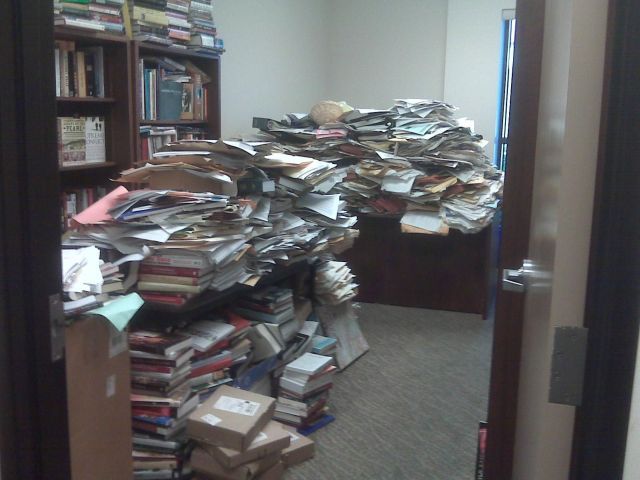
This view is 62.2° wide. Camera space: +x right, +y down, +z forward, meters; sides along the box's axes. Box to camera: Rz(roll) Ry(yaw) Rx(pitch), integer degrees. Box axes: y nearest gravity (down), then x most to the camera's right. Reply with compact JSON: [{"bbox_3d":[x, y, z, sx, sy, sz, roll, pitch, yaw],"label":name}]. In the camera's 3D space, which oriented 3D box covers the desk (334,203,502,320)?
[{"bbox_3d":[0.707,0.153,4.824,1.188,1.087,1.747,3,-12,3],"label":"desk"}]
